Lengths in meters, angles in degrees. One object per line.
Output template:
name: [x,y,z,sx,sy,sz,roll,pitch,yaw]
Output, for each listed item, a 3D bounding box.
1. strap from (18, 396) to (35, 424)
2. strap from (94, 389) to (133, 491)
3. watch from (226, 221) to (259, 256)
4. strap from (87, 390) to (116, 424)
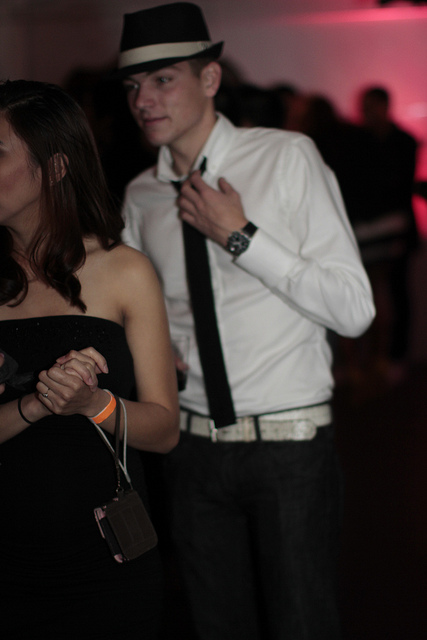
strap: [-0.317,0.153,1.050,0.009,0.033,0.035,-11,6,12]
strap: [-0.157,0.214,1.048,0.012,0.148,0.043,-11,8,-28]
watch: [0.058,-0.167,1.247,0.054,0.070,0.024,46,18,13]
strap: [-0.185,0.148,1.014,0.049,0.050,0.029,-22,31,-25]
